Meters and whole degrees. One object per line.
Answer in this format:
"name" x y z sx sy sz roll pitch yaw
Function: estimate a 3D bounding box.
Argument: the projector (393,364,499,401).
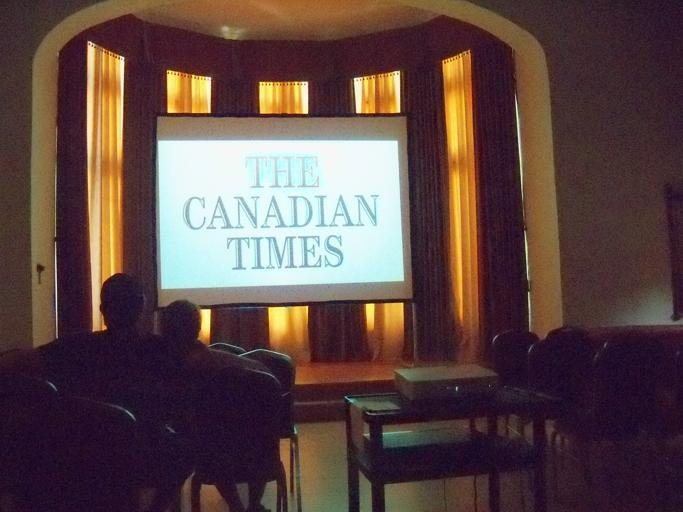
"projector" 0.626 0.744 4.192 0.606 0.181 0.214 -2 -5 1
